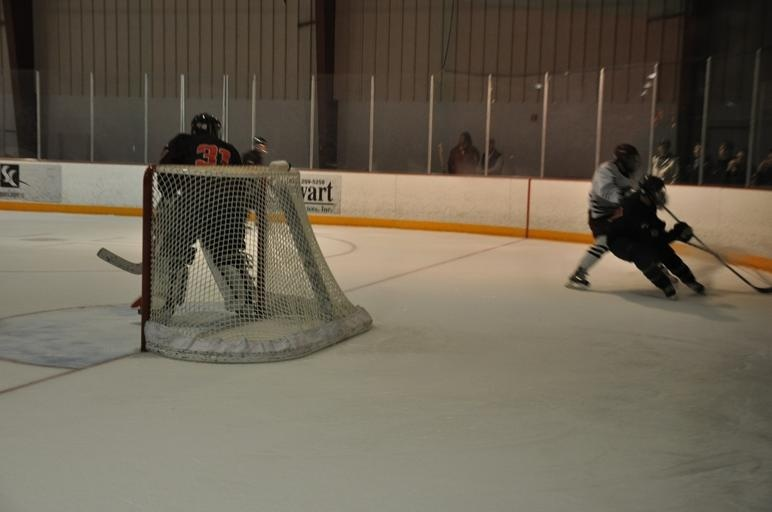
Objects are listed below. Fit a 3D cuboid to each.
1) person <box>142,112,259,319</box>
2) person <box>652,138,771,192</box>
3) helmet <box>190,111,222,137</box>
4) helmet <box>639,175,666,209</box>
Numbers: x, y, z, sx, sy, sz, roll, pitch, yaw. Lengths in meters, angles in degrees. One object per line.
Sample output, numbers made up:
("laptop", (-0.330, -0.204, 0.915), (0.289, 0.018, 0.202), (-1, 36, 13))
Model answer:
("person", (-1.289, -0.259, 4.387), (0.595, 1.136, 0.997), (-3, 12, -18))
("person", (4.239, -1.199, 8.029), (0.466, 0.549, 1.521), (-6, 13, -31))
("helmet", (-1.409, -1.054, 4.885), (0.228, 0.227, 0.181), (-12, 23, -29))
("helmet", (2.543, -0.604, 5.887), (0.270, 0.295, 0.173), (3, 11, 12))
